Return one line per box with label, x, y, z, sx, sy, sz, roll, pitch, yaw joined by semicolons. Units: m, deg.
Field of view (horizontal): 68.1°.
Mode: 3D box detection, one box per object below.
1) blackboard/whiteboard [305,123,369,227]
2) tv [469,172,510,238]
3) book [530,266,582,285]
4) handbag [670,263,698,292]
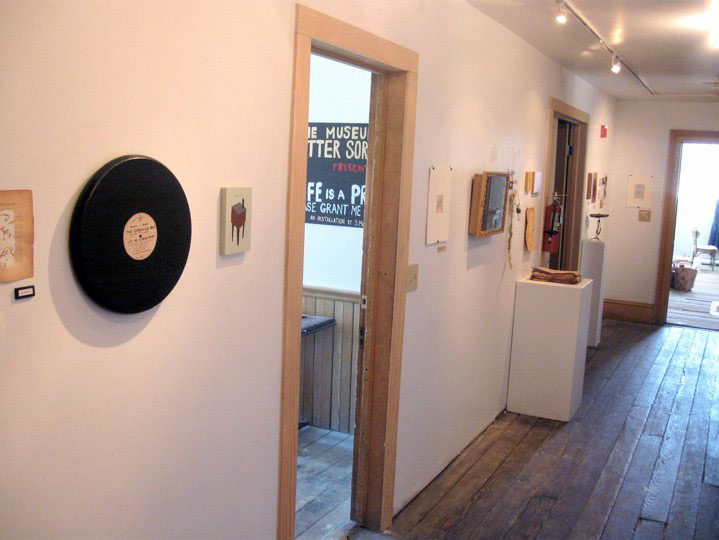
blackboard/whiteboard;-0.180;-0.717;4.022;0.485;0.779;0.116;2;9;11
tv;0.907;-0.475;3.772;0.062;0.405;0.486;6;5;24
book;1.684;0.047;4.580;0.408;0.097;0.244;4;10;18
handbag;6.223;0.150;10.291;0.494;0.571;0.471;0;-6;20
